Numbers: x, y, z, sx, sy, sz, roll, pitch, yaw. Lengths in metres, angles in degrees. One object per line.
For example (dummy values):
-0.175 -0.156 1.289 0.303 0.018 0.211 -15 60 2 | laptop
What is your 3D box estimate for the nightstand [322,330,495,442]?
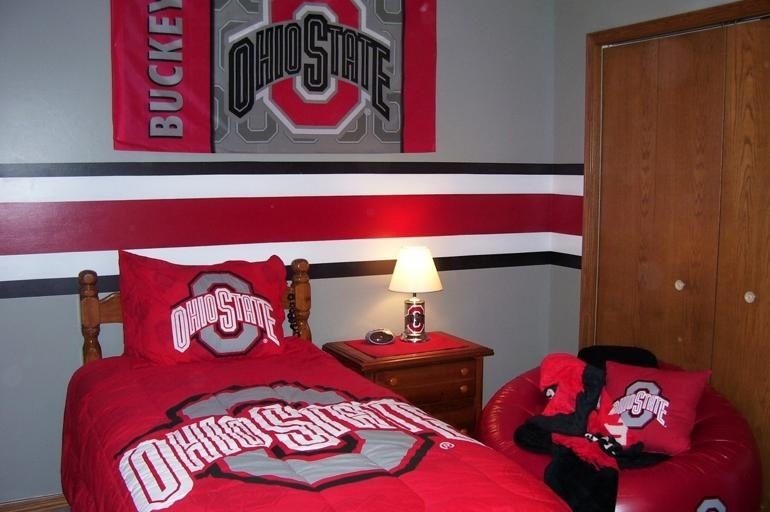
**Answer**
0.149 0.685 3.412 0.896 0.898 0.604 -3 5 -34 | nightstand
